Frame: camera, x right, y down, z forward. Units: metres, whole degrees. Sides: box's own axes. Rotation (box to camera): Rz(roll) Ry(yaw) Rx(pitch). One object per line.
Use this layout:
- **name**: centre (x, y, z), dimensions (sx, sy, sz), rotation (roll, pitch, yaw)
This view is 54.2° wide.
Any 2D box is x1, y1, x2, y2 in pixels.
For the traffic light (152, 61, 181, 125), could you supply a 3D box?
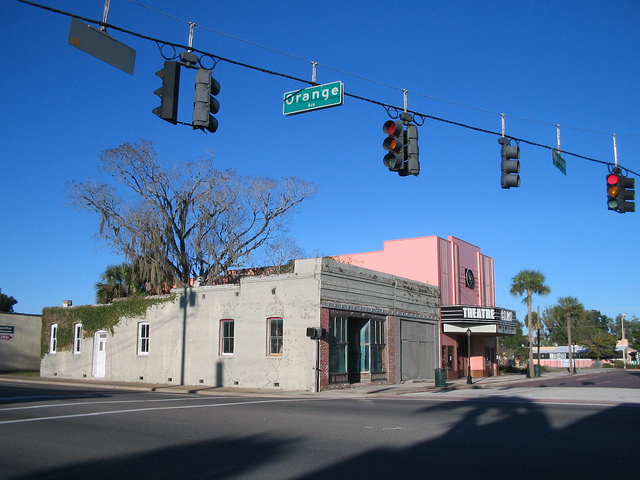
- **traffic light**: centre (-3.510, -3.451, 14.416), dimensions (0.555, 1.544, 0.359), rotation (0, -13, -3)

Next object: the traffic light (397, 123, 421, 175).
- **traffic light**: centre (2.405, -2.458, 16.587), dimensions (0.462, 1.552, 0.311), rotation (-4, -14, 14)

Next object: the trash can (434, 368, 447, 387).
- **trash can**: centre (6.175, 7.167, 32.541), dimensions (0.662, 1.183, 0.673), rotation (7, -9, -38)

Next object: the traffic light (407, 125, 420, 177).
- **traffic light**: centre (2.412, -2.390, 16.347), dimensions (0.287, 1.658, 0.720), rotation (-3, -14, 8)

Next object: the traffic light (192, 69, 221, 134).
- **traffic light**: centre (-2.700, -3.389, 14.906), dimensions (0.591, 1.746, 0.541), rotation (3, -14, -15)

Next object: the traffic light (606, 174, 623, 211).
- **traffic light**: centre (9.626, -1.574, 20.516), dimensions (0.475, 1.327, 0.258), rotation (0, -13, -1)

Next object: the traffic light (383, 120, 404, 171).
- **traffic light**: centre (1.963, -2.549, 16.569), dimensions (0.538, 1.424, 0.351), rotation (-3, -14, 8)
